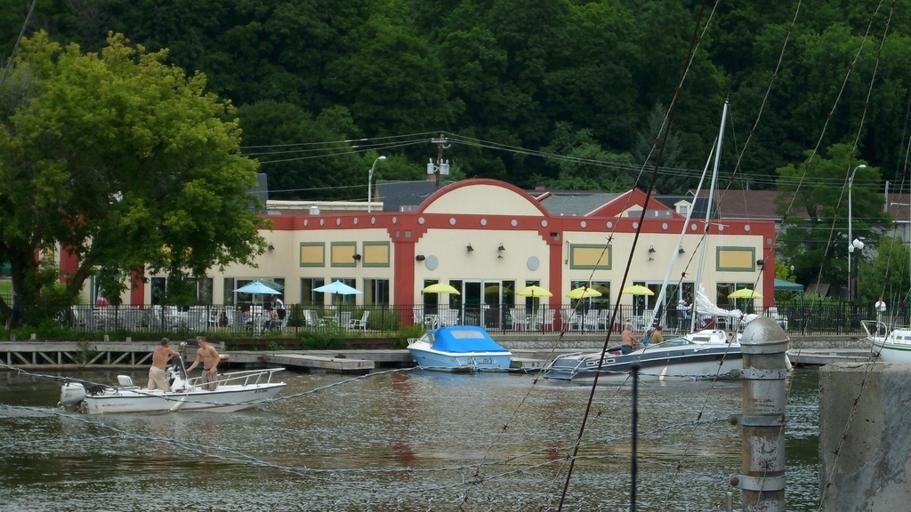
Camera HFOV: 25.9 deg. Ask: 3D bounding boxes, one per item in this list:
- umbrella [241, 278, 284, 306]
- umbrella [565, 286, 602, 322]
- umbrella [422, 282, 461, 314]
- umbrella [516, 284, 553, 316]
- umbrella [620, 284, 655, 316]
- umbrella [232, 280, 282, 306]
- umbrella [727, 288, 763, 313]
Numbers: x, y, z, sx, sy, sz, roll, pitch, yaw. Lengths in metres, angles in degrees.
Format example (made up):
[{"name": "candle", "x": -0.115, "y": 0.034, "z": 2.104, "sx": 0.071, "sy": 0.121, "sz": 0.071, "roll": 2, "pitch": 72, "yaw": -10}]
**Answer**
[{"name": "umbrella", "x": -14.979, "y": 2.961, "z": 154.171, "sx": 2.351, "sy": 1.029, "sz": 2.289, "roll": 1, "pitch": -2, "yaw": 35}, {"name": "umbrella", "x": 10.426, "y": 3.541, "z": 152.293, "sx": 3.324, "sy": 3.130, "sz": 3.089, "roll": 0, "pitch": -6, "yaw": -3}, {"name": "umbrella", "x": -1.072, "y": 3.391, "z": 151.255, "sx": 2.569, "sy": 1.932, "sz": 2.407, "roll": 1, "pitch": -4, "yaw": -9}, {"name": "umbrella", "x": 5.971, "y": 3.608, "z": 152.589, "sx": 2.643, "sy": 1.581, "sz": 2.411, "roll": 3, "pitch": -4, "yaw": -20}, {"name": "umbrella", "x": 14.688, "y": 3.279, "z": 153.482, "sx": 3.028, "sy": 2.551, "sz": 2.854, "roll": 0, "pitch": -4, "yaw": 0}, {"name": "umbrella", "x": -15.308, "y": 3.001, "z": 153.954, "sx": 2.403, "sy": 1.052, "sz": 2.322, "roll": -1, "pitch": -4, "yaw": 34}, {"name": "umbrella", "x": 21.958, "y": 3.618, "z": 150.007, "sx": 2.607, "sy": 2.066, "sz": 2.510, "roll": 1, "pitch": -2, "yaw": -30}]
